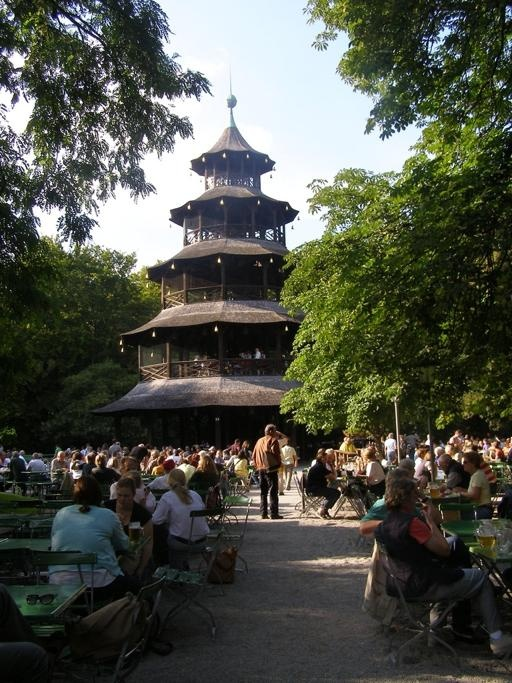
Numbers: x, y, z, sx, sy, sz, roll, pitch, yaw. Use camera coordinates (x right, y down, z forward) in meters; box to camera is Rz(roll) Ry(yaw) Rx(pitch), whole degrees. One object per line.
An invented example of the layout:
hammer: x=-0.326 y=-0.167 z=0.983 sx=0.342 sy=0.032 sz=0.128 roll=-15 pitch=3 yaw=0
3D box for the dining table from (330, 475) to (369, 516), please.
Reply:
dining table: x=1.822 y=2.700 z=13.680 sx=0.655 sy=0.663 sz=0.655 roll=11 pitch=-5 yaw=-7

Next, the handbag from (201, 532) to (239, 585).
handbag: x=-0.422 y=2.468 z=8.632 sx=0.411 sy=0.504 sz=0.399 roll=3 pitch=-5 yaw=1

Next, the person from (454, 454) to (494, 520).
person: x=2.563 y=1.708 z=8.995 sx=0.464 sy=0.725 sz=0.437 roll=-7 pitch=-13 yaw=22

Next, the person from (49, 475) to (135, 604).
person: x=-1.269 y=1.514 z=5.948 sx=0.773 sy=0.794 sz=0.721 roll=5 pitch=-7 yaw=-31

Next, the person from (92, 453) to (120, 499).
person: x=-2.510 y=2.274 z=12.676 sx=0.549 sy=0.900 sz=0.291 roll=3 pitch=33 yaw=5

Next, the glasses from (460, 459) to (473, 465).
glasses: x=2.569 y=1.470 z=9.123 sx=0.161 sy=0.045 sz=0.147 roll=16 pitch=-12 yaw=-2

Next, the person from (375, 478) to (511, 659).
person: x=1.381 y=1.684 z=5.708 sx=0.892 sy=1.266 sz=0.388 roll=2 pitch=-11 yaw=-5

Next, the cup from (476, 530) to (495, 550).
cup: x=1.775 y=1.555 z=5.879 sx=0.133 sy=0.093 sz=0.127 roll=-13 pitch=7 yaw=2

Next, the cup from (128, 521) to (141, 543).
cup: x=-1.034 y=1.637 z=6.472 sx=0.155 sy=0.138 sz=0.092 roll=5 pitch=-17 yaw=-19

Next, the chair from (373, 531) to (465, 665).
chair: x=1.166 y=2.138 z=6.221 sx=0.916 sy=1.120 sz=0.768 roll=-2 pitch=-15 yaw=1
